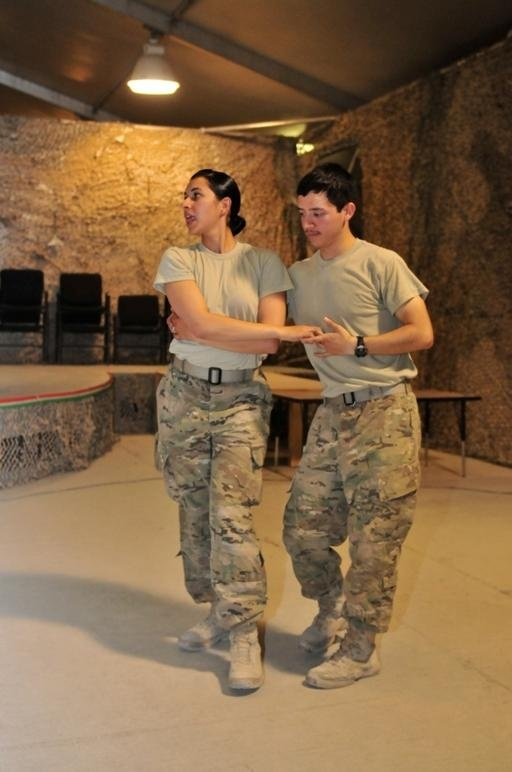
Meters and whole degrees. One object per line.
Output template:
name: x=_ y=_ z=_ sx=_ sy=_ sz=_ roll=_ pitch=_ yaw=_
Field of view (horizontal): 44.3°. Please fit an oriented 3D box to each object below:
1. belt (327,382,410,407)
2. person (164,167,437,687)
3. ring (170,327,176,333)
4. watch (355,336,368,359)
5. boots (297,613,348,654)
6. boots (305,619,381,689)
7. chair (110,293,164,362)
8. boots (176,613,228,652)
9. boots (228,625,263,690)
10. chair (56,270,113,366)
belt: x=0.267 y=0.018 z=1.543 sx=0.204 sy=0.063 sz=0.091 roll=0 pitch=-1 yaw=11
person: x=0.227 y=0.076 z=1.567 sx=0.297 sy=1.243 sz=0.373 roll=2 pitch=-2 yaw=-26
ring: x=-0.212 y=-0.142 z=1.602 sx=0.005 sy=0.016 sz=0.013 roll=-20 pitch=-2 yaw=-9
watch: x=0.238 y=-0.093 z=1.448 sx=0.032 sy=0.042 sz=0.048 roll=-1 pitch=1 yaw=5
boots: x=0.173 y=0.656 z=1.705 sx=0.060 sy=0.081 sz=0.179 roll=5 pitch=1 yaw=29
boots: x=0.218 y=0.628 z=1.515 sx=0.249 sy=0.158 sz=0.088 roll=3 pitch=-3 yaw=-35
chair: x=-1.391 y=-0.686 z=7.429 sx=0.657 sy=0.779 sz=0.507 roll=-1 pitch=5 yaw=-6
boots: x=-0.147 y=0.679 z=1.734 sx=0.056 sy=0.057 sz=0.156 roll=2 pitch=1 yaw=32
boots: x=-0.026 y=0.628 z=1.439 sx=0.055 sy=0.059 sz=0.158 roll=-2 pitch=2 yaw=-1
chair: x=-2.082 y=-0.806 z=7.567 sx=0.624 sy=1.044 sz=0.692 roll=1 pitch=-2 yaw=-18
